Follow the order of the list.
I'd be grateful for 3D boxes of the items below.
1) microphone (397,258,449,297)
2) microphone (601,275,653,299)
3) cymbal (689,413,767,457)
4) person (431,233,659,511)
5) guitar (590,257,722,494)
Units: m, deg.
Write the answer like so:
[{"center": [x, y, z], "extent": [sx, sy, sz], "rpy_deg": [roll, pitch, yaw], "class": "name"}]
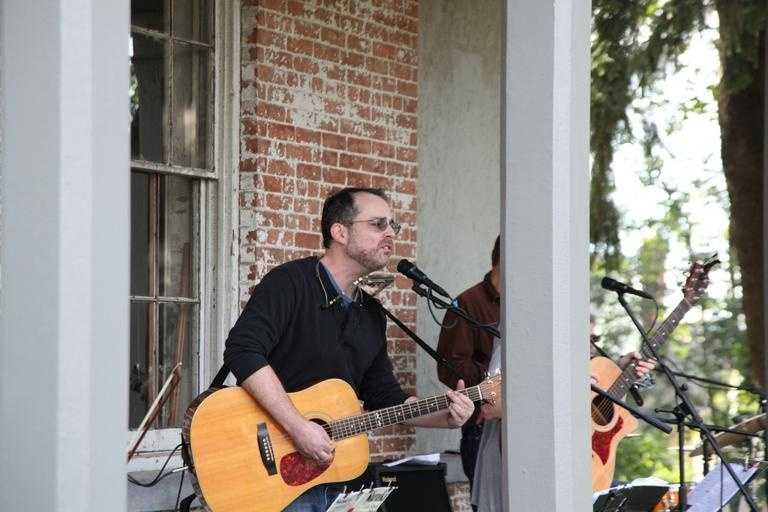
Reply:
[{"center": [0.211, 0.140, 7.090], "extent": [0.416, 0.102, 0.095], "rpy_deg": [24, -12, 42], "class": "microphone"}, {"center": [1.802, 0.224, 8.776], "extent": [0.336, 0.094, 0.106], "rpy_deg": [16, 45, 16], "class": "microphone"}, {"center": [1.817, 0.970, 6.309], "extent": [0.401, 0.202, 0.816], "rpy_deg": [-3, -5, 13], "class": "cymbal"}, {"center": [0.647, 0.498, 6.860], "extent": [0.261, 1.922, 0.807], "rpy_deg": [-10, -39, 31], "class": "person"}, {"center": [1.419, 0.762, 6.432], "extent": [0.744, 1.431, 0.641], "rpy_deg": [1, 4, 5], "class": "guitar"}]
